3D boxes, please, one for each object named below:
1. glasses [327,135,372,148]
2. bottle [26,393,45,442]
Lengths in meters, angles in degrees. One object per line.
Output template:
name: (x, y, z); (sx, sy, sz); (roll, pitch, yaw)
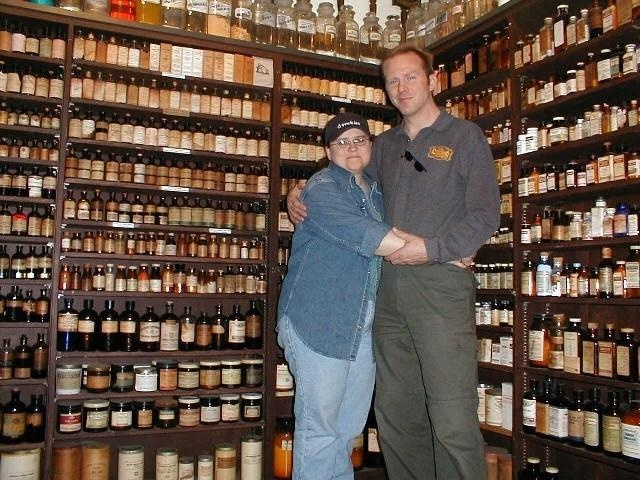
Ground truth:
glasses: (0.163, -0.505, 3.064); (0.109, 0.025, 0.100); (-3, -3, -29)
bottle: (-1.821, 1.144, 3.813); (0.110, 0.297, 0.042); (3, -10, -27)
